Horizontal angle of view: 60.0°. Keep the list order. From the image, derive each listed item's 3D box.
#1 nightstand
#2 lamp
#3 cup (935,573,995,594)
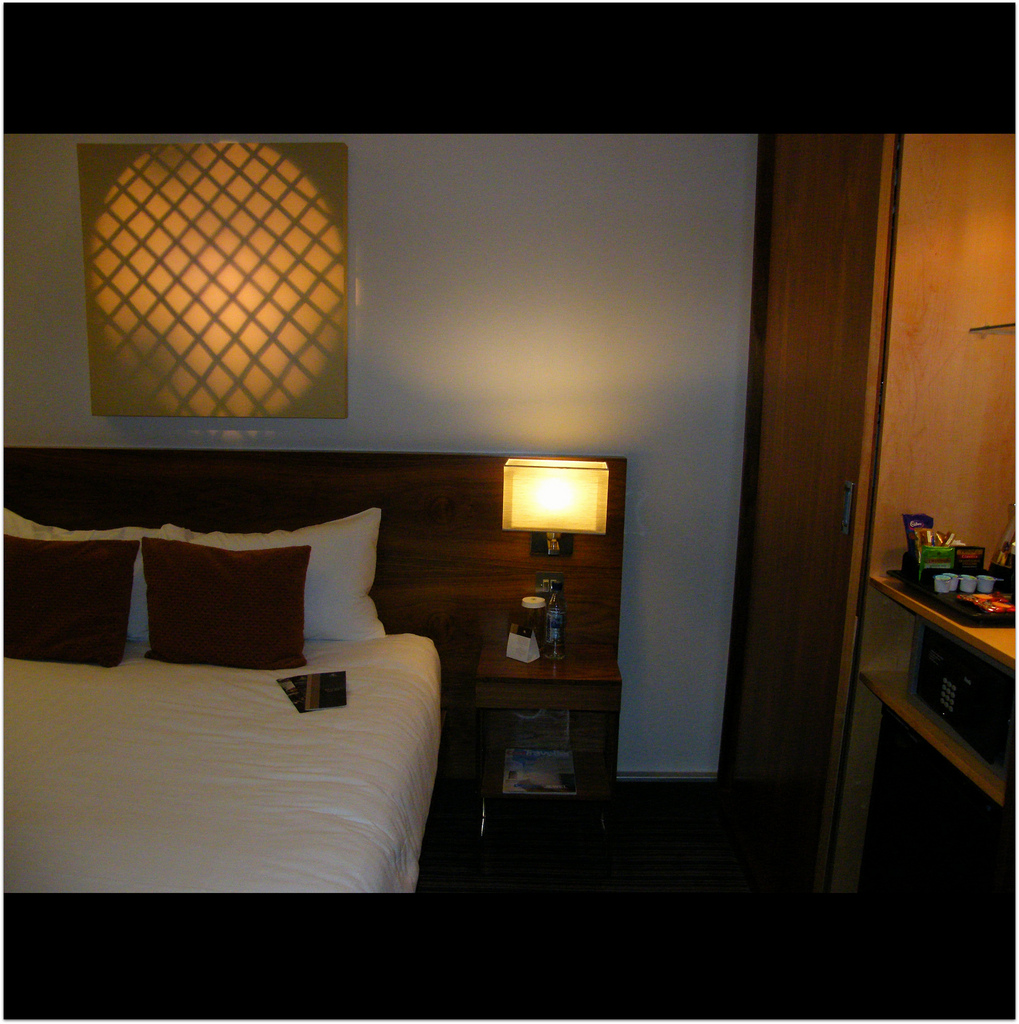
[{"bbox_3d":[0.095,0.699,2.654,0.338,0.558,0.277,6,-4,-6],"label":"nightstand"},{"bbox_3d":[0.138,-0.013,2.705,0.287,0.324,0.179,1,12,0],"label":"lamp"},{"bbox_3d":[0.915,0.145,1.774,0.113,0.044,0.057,6,8,10],"label":"cup"}]
